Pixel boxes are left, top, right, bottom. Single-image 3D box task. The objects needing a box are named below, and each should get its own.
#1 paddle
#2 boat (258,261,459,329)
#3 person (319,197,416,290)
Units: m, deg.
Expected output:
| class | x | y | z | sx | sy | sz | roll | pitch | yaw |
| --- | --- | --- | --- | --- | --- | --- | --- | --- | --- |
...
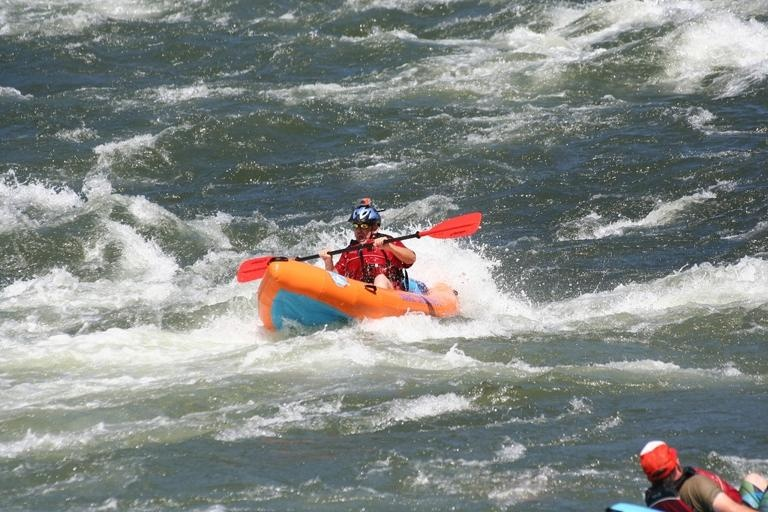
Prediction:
| class | x | y | z | sx | sy | sz | roll | pitch | yaw |
| --- | --- | --- | --- | --- | --- | --- | --- | --- | --- |
| paddle | -0.327 | -0.083 | 25.338 | 5.060 | 0.160 | 0.541 | -10 | 35 | 2 |
| boat | -0.381 | 0.747 | 23.936 | 2.929 | 0.494 | 1.363 | 8 | -5 | -36 |
| person | -0.265 | -0.140 | 25.078 | 1.216 | 1.481 | 1.012 | -27 | -46 | 14 |
